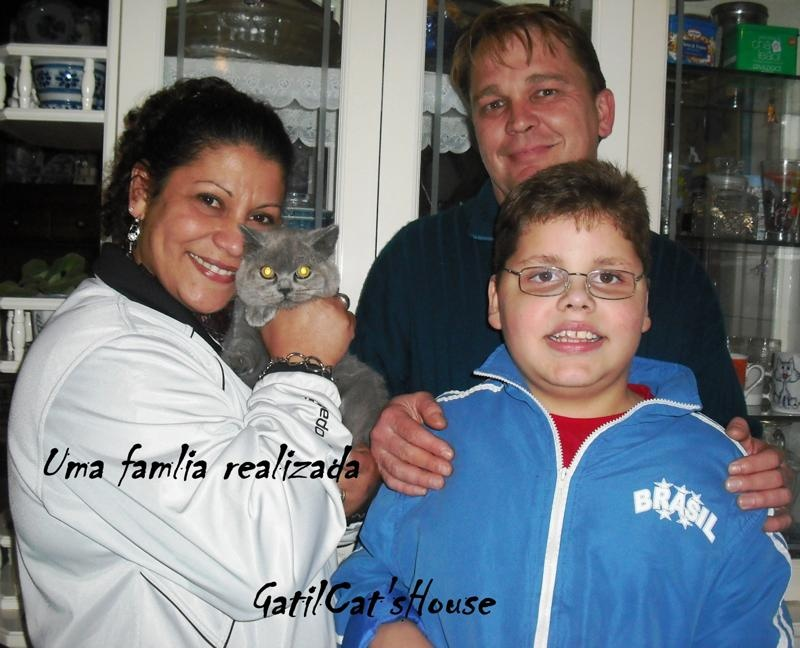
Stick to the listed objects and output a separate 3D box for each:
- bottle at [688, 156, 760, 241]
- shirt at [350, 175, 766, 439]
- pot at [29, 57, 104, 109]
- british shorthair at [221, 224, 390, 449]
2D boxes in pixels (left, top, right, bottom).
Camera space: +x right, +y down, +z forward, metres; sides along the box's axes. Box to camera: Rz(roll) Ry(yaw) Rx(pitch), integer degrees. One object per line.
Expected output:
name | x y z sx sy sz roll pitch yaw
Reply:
bottle | 0.856 -0.321 2.306 0.197 0.292 0.203 0 2 0
shirt | 0.272 -0.029 1.764 0.584 0.510 0.216 3 -12 4
pot | -0.810 -0.576 2.102 0.137 0.090 0.127 1 7 0
british shorthair | -0.233 -0.022 1.987 0.287 0.379 0.517 2 1 4
